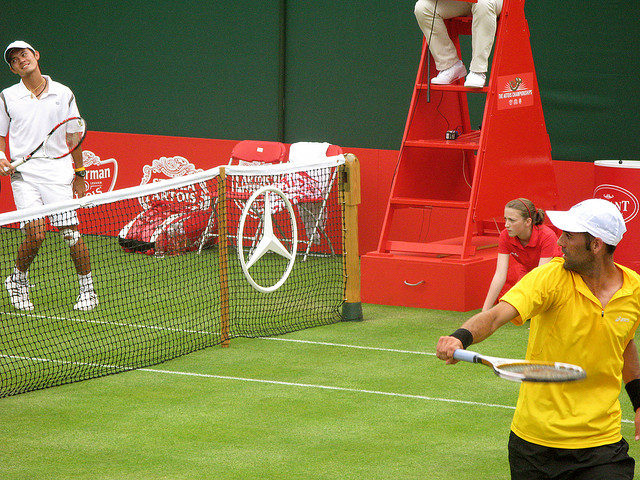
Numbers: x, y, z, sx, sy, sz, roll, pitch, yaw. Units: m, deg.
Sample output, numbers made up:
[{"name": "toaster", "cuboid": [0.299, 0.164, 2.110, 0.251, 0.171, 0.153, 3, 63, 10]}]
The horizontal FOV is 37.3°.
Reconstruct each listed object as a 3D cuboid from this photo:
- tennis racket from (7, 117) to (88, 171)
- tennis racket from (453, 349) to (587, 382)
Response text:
[{"name": "tennis racket", "cuboid": [-2.581, -0.996, 9.247, 0.648, 0.453, 1.100, -2, 13, -7]}, {"name": "tennis racket", "cuboid": [0.943, 0.617, 4.557, 0.577, 0.044, 0.227, 8, -1, -1]}]
